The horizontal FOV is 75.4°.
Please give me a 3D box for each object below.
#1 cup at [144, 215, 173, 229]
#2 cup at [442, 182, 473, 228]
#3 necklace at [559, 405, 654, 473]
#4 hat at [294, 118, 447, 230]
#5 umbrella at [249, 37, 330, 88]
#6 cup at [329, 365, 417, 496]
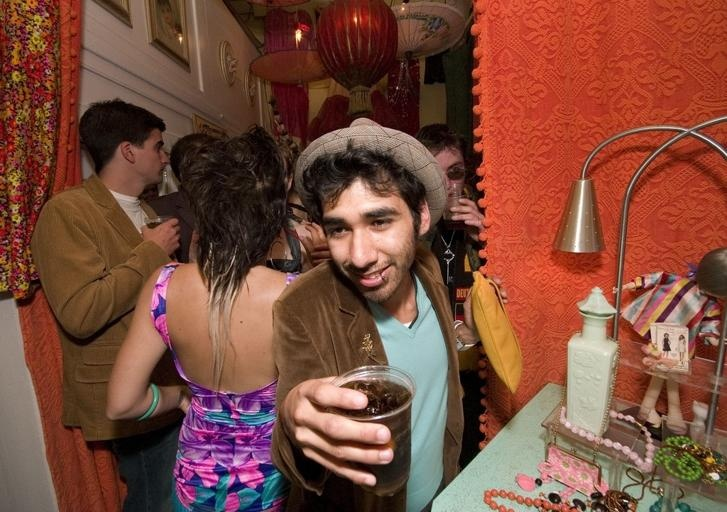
[{"bbox_3d":[-1.305,-0.213,2.969,0.101,0.087,0.117,1,6,3],"label":"cup"},{"bbox_3d":[0.551,-0.295,2.739,0.182,0.327,0.191,-2,-3,0],"label":"cup"},{"bbox_3d":[1.052,0.832,2.122,0.454,0.088,0.594,-12,-12,38],"label":"necklace"},{"bbox_3d":[0.126,-0.403,2.126,0.456,0.251,0.485,-15,-43,26],"label":"hat"},{"bbox_3d":[-0.823,-2.091,5.227,0.666,0.379,0.674,-3,1,-34],"label":"umbrella"},{"bbox_3d":[0.085,0.605,1.796,0.374,0.529,0.396,-4,13,1],"label":"cup"}]
